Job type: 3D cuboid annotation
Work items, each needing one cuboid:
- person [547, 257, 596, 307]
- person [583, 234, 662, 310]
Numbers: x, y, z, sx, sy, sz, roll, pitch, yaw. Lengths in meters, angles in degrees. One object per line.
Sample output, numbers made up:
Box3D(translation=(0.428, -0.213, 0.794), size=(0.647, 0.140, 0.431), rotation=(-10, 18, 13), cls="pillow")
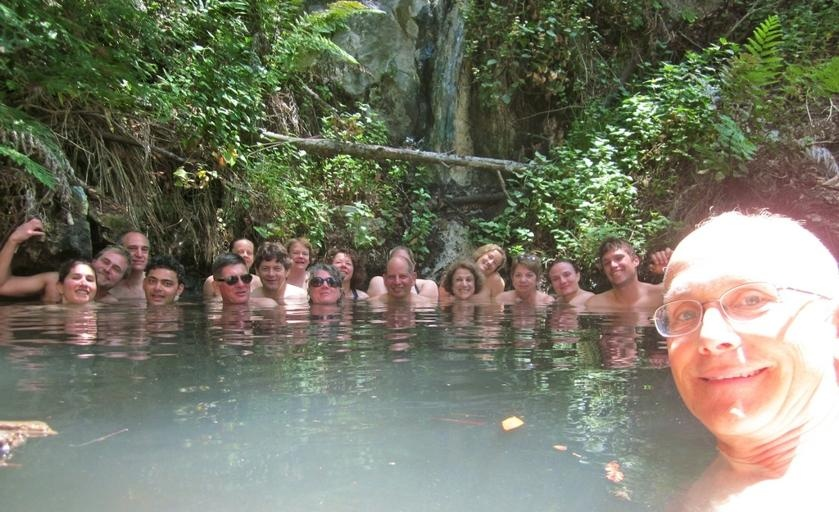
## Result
Box3D(translation=(2.060, 0.376, 8.926), size=(0.733, 0.710, 0.473), rotation=(-12, -1, 25), cls="person")
Box3D(translation=(2.804, 0.279, 8.442), size=(0.648, 0.986, 1.364), rotation=(-4, -5, -45), cls="person")
